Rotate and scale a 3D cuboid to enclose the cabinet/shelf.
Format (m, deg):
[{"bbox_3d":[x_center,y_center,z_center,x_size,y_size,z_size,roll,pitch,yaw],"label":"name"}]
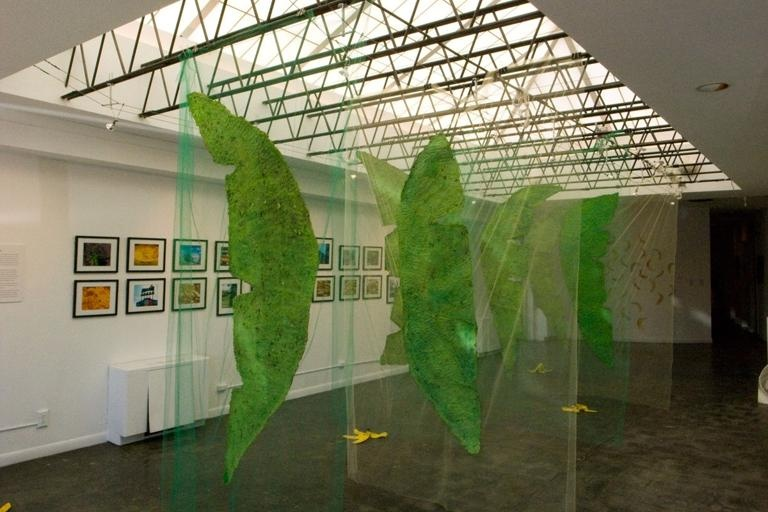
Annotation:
[{"bbox_3d":[-3.155,1.988,7.506,0.639,1.029,1.269,4,1,36],"label":"cabinet/shelf"}]
